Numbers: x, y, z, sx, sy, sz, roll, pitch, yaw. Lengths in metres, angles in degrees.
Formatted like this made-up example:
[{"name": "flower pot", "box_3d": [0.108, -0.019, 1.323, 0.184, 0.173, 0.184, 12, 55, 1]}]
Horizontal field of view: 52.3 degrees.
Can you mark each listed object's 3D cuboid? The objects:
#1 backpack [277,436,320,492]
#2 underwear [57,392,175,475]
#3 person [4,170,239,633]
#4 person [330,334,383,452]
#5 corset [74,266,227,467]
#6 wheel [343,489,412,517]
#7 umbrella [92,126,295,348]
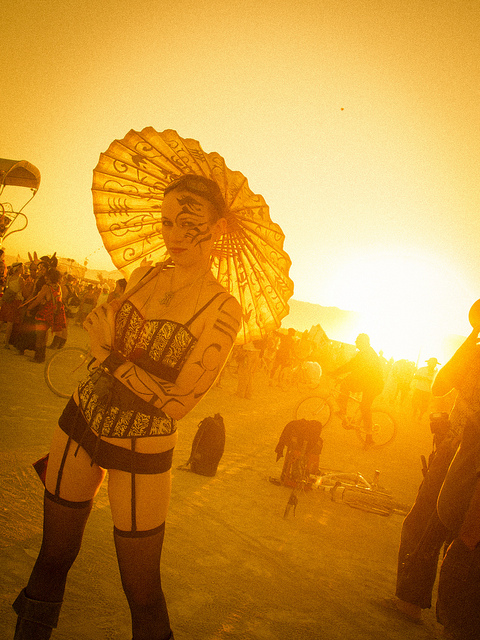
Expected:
[{"name": "backpack", "box_3d": [0.704, 1.694, 5.771, 0.215, 0.590, 0.747, 12, 5, -3]}, {"name": "underwear", "box_3d": [-0.423, 0.380, 1.602, 0.404, 0.244, 0.141, 9, 0, 13]}, {"name": "person", "box_3d": [-0.340, 0.244, 1.694, 0.569, 1.554, 0.412, 9, 0, 5]}, {"name": "person", "box_3d": [2.420, 1.470, 10.062, 0.937, 2.384, 1.382, 9, 0, 21]}, {"name": "corset", "box_3d": [-0.319, 0.201, 1.581, 0.247, 0.610, 0.354, 5, 41, 27]}, {"name": "wheel", "box_3d": [1.600, 2.168, 5.741, 0.823, 0.304, 0.169, 9, 0, -12]}, {"name": "umbrella", "box_3d": [-0.154, -0.435, 2.451, 1.133, 0.378, 1.105, -12, 47, -47]}]
